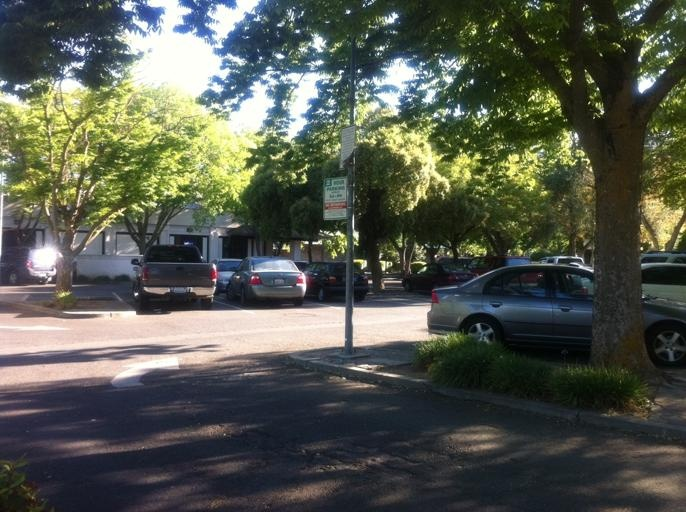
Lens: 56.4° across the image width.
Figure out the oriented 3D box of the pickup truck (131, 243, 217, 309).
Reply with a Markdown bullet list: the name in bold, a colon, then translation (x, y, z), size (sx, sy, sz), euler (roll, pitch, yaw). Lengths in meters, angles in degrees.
- **pickup truck**: translation (-5.623, 0.652, 21.149), size (2.507, 2.232, 2.653), euler (1, -3, -19)

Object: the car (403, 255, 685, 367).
- **car**: translation (3.992, 1.049, 12.336), size (4.156, 1.477, 1.846), euler (-2, -4, 18)

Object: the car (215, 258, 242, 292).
- **car**: translation (-5.023, 0.793, 28.151), size (1.010, 1.026, 1.882), euler (0, 6, -12)

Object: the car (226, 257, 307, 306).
- **car**: translation (-2.712, 0.892, 23.163), size (2.045, 1.760, 2.600), euler (1, -3, -23)
